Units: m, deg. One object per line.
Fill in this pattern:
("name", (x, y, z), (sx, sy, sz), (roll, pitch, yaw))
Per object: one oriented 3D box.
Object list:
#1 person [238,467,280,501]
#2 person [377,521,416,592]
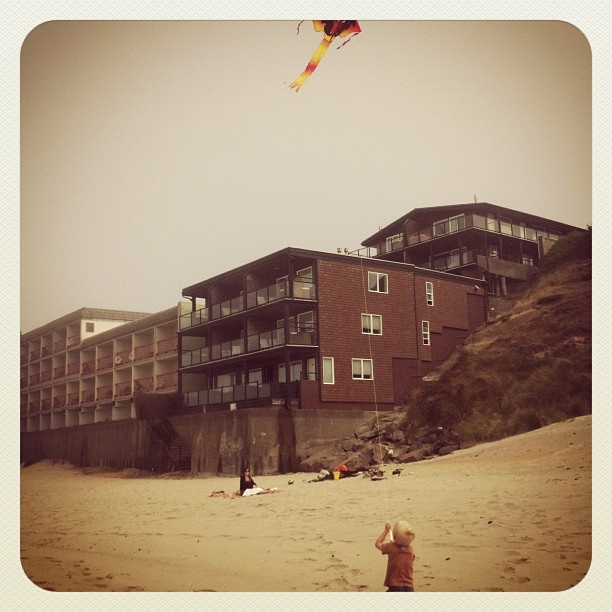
("person", (-1.693, 6.145, 21.339), (1.448, 0.767, 0.690), (-3, -8, 11))
("person", (1.262, 3.513, 8.718), (0.492, 1.009, 0.624), (-3, -10, 8))
